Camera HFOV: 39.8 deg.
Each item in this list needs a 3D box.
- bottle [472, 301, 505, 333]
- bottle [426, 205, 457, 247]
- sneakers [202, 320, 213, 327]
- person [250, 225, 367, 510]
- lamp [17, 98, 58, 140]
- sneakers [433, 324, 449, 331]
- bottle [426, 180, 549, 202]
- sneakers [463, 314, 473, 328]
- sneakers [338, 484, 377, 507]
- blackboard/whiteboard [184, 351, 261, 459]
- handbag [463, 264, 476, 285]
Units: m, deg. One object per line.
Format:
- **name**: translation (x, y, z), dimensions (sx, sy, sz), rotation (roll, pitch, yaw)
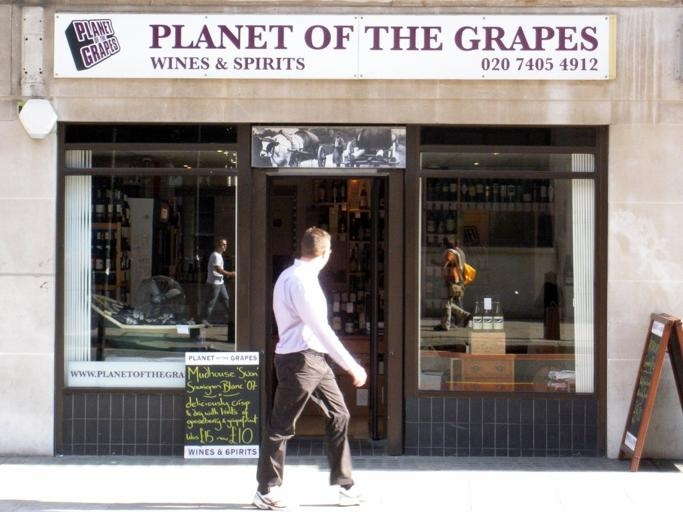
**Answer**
- **bottle**: translation (1.562, 0.639, 10.096), dimensions (0.293, 0.329, 0.103), rotation (0, 0, 0)
- **bottle**: translation (1.037, -0.318, 9.973), dimensions (0.355, 0.429, 0.083), rotation (-1, 1, -19)
- **sneakers**: translation (-1.440, 0.727, 10.026), dimensions (0.122, 0.097, 0.045), rotation (-2, 2, -3)
- **person**: translation (-0.336, 1.053, 8.791), dimensions (1.006, 2.605, 0.507), rotation (0, 1, -1)
- **lamp**: translation (-3.174, -1.420, 9.840), dimensions (0.379, 0.428, 0.122), rotation (0, 1, 7)
- **sneakers**: translation (1.035, 0.770, 10.029), dimensions (0.106, 0.059, 0.068), rotation (-5, 4, -28)
- **bottle**: translation (1.535, -0.672, 9.968), dimensions (1.333, 0.231, 0.198), rotation (-1, 1, -10)
- **sneakers**: translation (1.333, 0.698, 10.035), dimensions (0.092, 0.134, 0.128), rotation (1, -7, 9)
- **sneakers**: translation (0.104, 2.249, 8.881), dimensions (0.231, 0.113, 0.188), rotation (1, 2, -16)
- **blackboard/whiteboard**: translation (-1.192, 1.508, 9.489), dimensions (0.910, 1.340, 0.099), rotation (0, -4, -2)
- **handbag**: translation (1.344, 0.189, 10.067), dimensions (0.146, 0.217, 0.087), rotation (-12, 10, -2)
